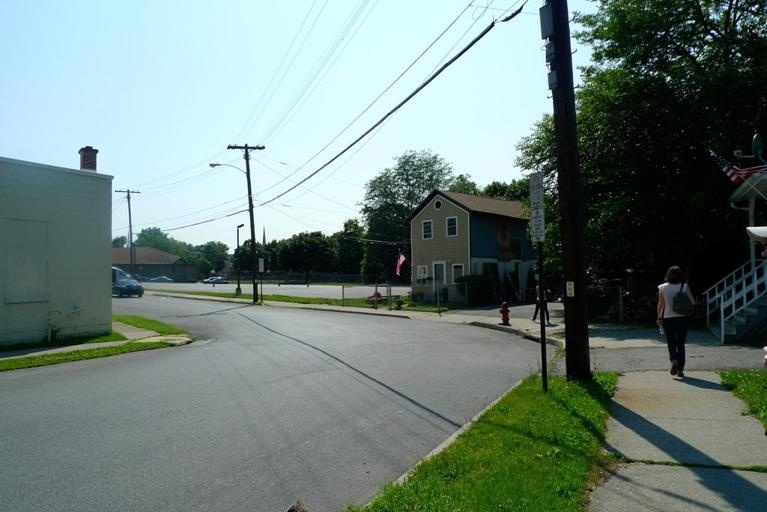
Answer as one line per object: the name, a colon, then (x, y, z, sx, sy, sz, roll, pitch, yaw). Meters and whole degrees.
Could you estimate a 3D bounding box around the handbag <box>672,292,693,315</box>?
handbag: (6.945, 1.107, 14.292, 0.451, 0.514, 0.238, 2, 4, 5)

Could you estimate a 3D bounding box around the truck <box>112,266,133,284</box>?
truck: (-22.140, 1.549, 51.834, 2.471, 1.418, 1.554, -2, 4, -41)
